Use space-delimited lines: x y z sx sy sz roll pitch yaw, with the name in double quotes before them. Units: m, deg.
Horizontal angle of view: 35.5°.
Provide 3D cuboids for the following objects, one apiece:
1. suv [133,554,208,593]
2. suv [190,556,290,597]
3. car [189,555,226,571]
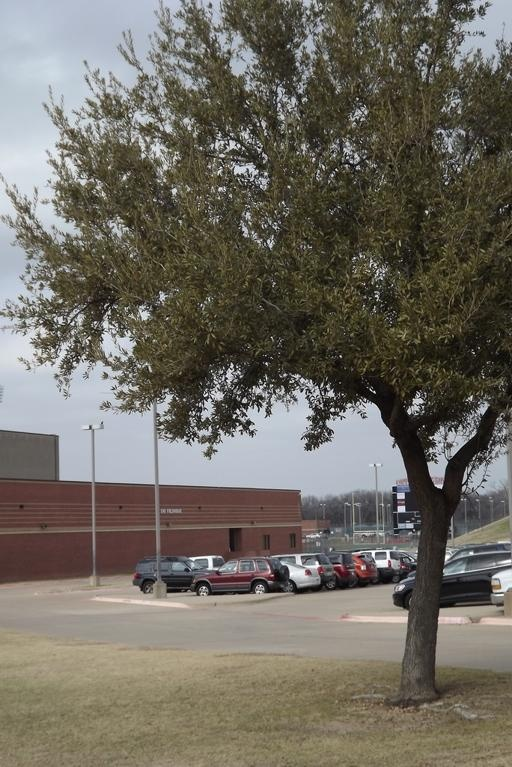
"suv" -3.932 8.403 35.452 2.942 1.350 1.467 -4 -7 9
"suv" -0.586 7.727 31.842 3.315 1.511 1.658 -1 -11 16
"car" -2.257 8.667 37.955 1.594 0.883 0.950 3 -9 3
